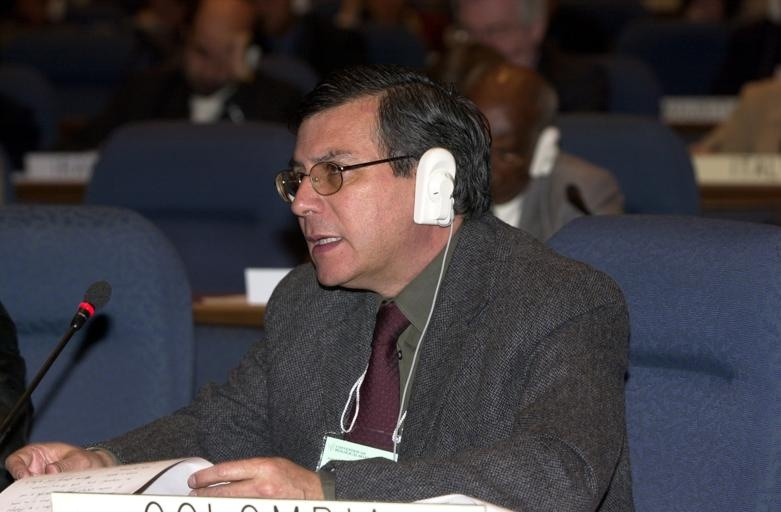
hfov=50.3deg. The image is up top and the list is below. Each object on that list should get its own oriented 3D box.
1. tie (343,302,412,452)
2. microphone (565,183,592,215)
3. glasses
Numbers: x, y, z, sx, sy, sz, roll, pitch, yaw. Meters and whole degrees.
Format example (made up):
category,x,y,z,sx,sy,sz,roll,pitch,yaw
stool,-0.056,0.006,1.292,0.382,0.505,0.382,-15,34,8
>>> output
category,x,y,z,sx,sy,sz,roll,pitch,yaw
tie,-0.038,0.269,1.950,0.209,0.285,0.081,3,-11,0
microphone,0.626,-0.189,2.782,0.061,0.031,0.115,-25,53,0
glasses,-0.135,-0.199,2.059,0.178,0.054,0.175,-7,-4,-41
